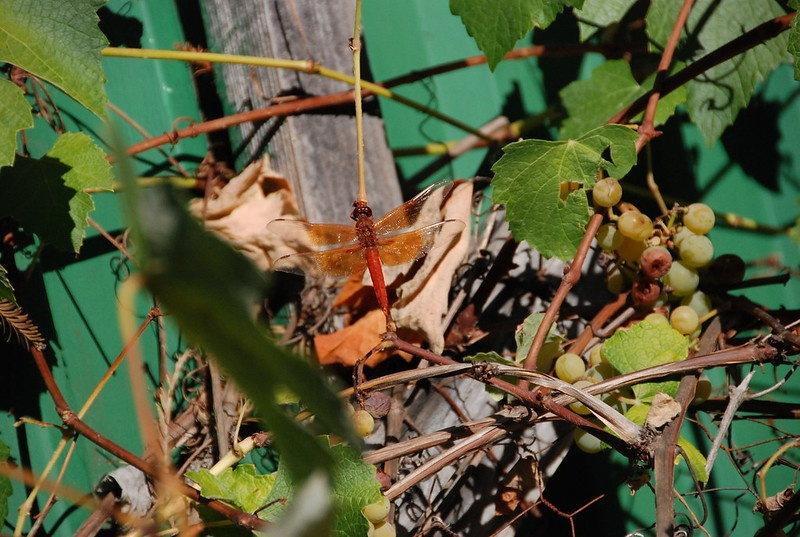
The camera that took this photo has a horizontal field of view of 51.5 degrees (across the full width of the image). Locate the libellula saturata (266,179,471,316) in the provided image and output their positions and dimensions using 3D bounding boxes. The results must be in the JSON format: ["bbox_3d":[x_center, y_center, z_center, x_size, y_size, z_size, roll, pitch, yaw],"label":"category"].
[{"bbox_3d":[-0.098,0.052,2.638,0.439,0.439,0.510,-7,-18,14],"label":"libellula saturata"}]

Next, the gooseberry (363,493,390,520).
[{"bbox_3d":[-0.059,0.647,2.211,0.070,0.057,0.094,-21,-8,20],"label":"gooseberry"}]
